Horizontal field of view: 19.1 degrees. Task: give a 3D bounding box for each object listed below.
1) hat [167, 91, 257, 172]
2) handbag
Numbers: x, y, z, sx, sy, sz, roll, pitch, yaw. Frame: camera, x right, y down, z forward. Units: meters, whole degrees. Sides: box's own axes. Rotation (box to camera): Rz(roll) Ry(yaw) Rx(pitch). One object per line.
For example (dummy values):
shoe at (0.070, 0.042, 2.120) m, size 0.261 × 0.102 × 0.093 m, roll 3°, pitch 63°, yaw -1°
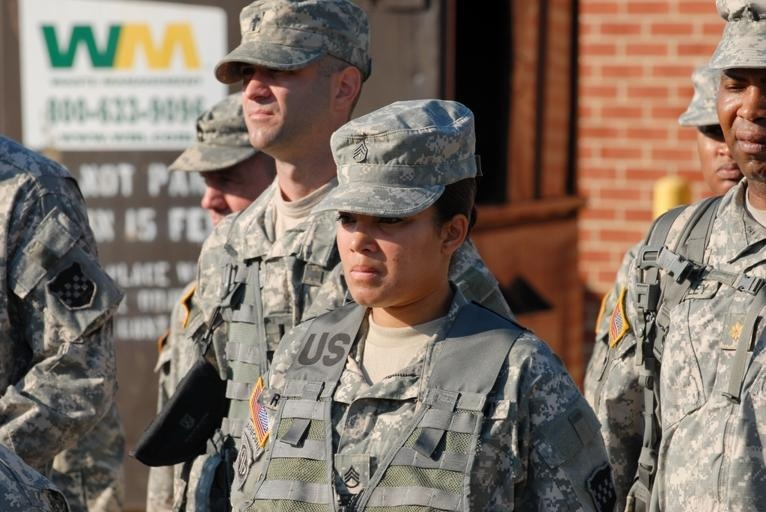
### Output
hat at (-0.981, -0.677, 13.355) m, size 0.556 × 0.185 × 0.382 m, roll -30°, pitch 9°, yaw -31°
handbag at (-1.159, 0.831, 12.479) m, size 0.695 × 0.256 × 0.669 m, roll -34°, pitch 1°, yaw -11°
